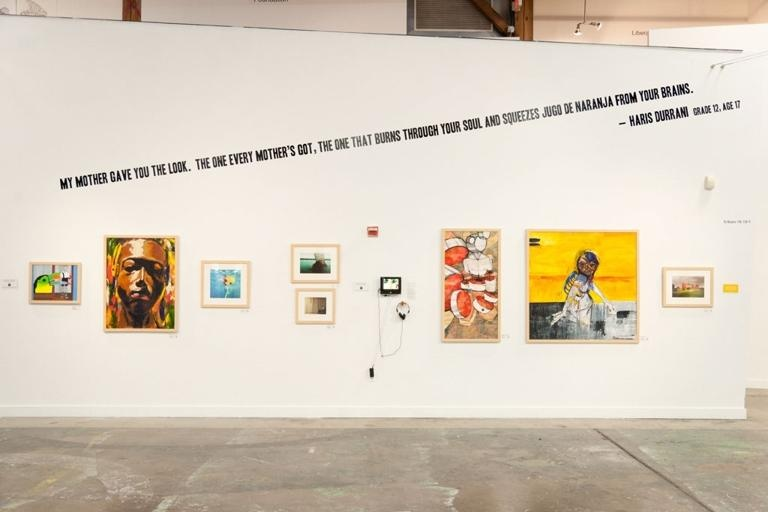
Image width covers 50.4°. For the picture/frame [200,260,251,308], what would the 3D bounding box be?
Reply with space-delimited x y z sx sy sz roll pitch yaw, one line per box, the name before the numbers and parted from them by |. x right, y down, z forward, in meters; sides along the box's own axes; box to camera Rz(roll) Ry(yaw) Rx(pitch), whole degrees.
picture/frame | -2.642 0.483 13.466 0.686 0.767 0.029 0 -1 -4

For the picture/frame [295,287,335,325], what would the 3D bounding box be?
picture/frame | -1.170 0.847 13.481 0.548 0.539 0.039 0 0 -1

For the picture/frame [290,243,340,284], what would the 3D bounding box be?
picture/frame | -1.179 0.135 13.491 0.579 0.504 0.027 -1 1 2

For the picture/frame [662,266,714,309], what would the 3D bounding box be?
picture/frame | 5.094 0.561 13.617 0.574 0.545 0.027 -1 0 1

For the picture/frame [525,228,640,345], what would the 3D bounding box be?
picture/frame | 3.224 0.574 13.571 1.713 1.938 0.077 0 -1 -5
